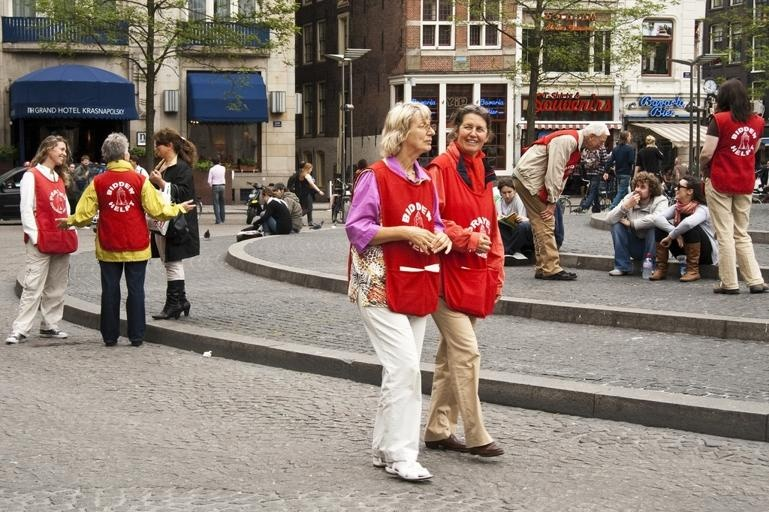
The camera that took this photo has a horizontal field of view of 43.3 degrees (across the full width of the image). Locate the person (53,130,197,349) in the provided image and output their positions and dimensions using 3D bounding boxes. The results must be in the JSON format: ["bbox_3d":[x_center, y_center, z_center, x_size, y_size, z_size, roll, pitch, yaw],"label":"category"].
[{"bbox_3d":[-2.915,-0.178,10.974,1.187,2.383,0.489,-2,9,-16],"label":"person"}]

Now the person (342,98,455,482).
[{"bbox_3d":[0.162,0.247,7.512,0.782,2.849,0.615,8,11,39],"label":"person"}]

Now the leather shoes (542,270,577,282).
[{"bbox_3d":[2.465,0.274,13.598,0.485,0.183,0.170,-1,3,8],"label":"leather shoes"}]

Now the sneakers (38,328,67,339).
[{"bbox_3d":[-3.864,0.914,11.427,0.338,0.122,0.118,-1,0,17],"label":"sneakers"}]

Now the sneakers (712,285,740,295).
[{"bbox_3d":[4.276,0.437,12.171,0.123,0.110,0.256,-4,9,-30],"label":"sneakers"}]

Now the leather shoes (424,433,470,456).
[{"bbox_3d":[0.520,1.542,7.912,0.392,0.147,0.126,-1,0,6],"label":"leather shoes"}]

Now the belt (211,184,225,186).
[{"bbox_3d":[-4.915,-2.130,28.999,0.353,0.101,0.205,-3,9,-23],"label":"belt"}]

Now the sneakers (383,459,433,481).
[{"bbox_3d":[0.170,1.610,7.392,0.293,0.105,0.158,5,6,30],"label":"sneakers"}]

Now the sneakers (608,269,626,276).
[{"bbox_3d":[3.303,0.247,13.809,0.222,0.085,0.079,1,2,12],"label":"sneakers"}]

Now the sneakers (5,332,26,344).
[{"bbox_3d":[-4.194,0.927,11.120,0.220,0.119,0.204,-2,9,-20],"label":"sneakers"}]

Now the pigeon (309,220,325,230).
[{"bbox_3d":[-1.735,-0.777,25.028,0.195,0.242,0.587,11,8,-4],"label":"pigeon"}]

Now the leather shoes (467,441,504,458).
[{"bbox_3d":[0.814,1.545,7.755,0.292,0.126,0.118,-2,1,10],"label":"leather shoes"}]
